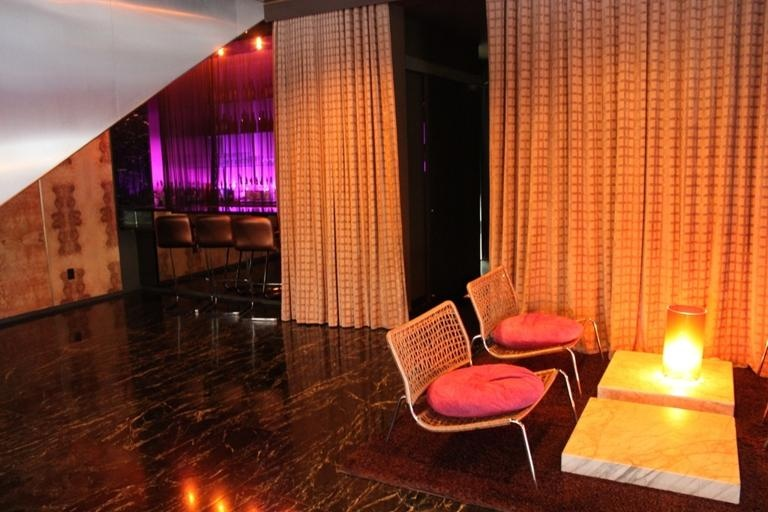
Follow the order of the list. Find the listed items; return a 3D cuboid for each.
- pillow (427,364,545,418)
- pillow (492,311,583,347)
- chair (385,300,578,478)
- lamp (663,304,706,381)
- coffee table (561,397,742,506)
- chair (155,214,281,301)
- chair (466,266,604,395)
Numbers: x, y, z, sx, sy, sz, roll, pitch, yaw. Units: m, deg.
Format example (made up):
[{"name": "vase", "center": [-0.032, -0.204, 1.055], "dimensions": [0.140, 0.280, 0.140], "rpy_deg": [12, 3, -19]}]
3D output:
[{"name": "pillow", "center": [0.668, 0.890, 3.764], "dimensions": [0.764, 0.218, 0.470], "rpy_deg": [-3, 6, 3]}, {"name": "pillow", "center": [1.208, 0.587, 4.485], "dimensions": [0.376, 0.101, 0.370], "rpy_deg": [-8, 3, -8]}, {"name": "chair", "center": [0.599, 0.944, 3.917], "dimensions": [1.248, 0.904, 1.007], "rpy_deg": [5, 13, 30]}, {"name": "lamp", "center": [2.207, 0.626, 4.192], "dimensions": [0.308, 0.454, 0.313], "rpy_deg": [7, 7, 42]}, {"name": "coffee table", "center": [1.697, 1.221, 3.637], "dimensions": [0.962, 0.367, 0.715], "rpy_deg": [0, 7, 27]}, {"name": "chair", "center": [-2.043, -0.001, 7.180], "dimensions": [1.034, 0.692, 0.519], "rpy_deg": [3, 13, 15]}, {"name": "chair", "center": [1.226, 0.544, 4.661], "dimensions": [0.958, 0.678, 0.787], "rpy_deg": [5, 15, 33]}]
